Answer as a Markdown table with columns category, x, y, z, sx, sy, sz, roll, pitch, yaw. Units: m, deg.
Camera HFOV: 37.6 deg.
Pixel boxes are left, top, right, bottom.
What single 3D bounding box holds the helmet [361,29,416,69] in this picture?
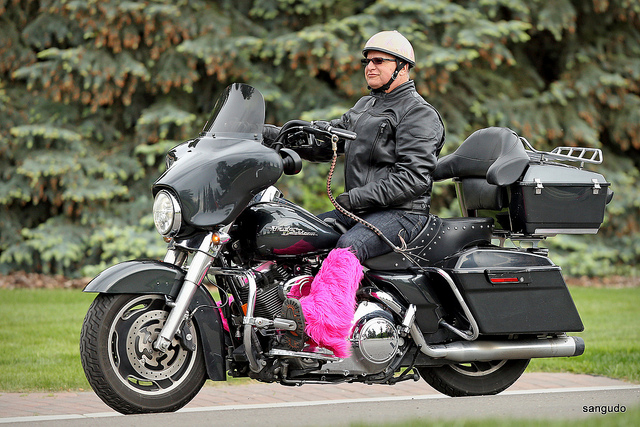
| category | x | y | z | sx | sy | sz | roll | pitch | yaw |
| --- | --- | --- | --- | --- | --- | --- | --- | --- | --- |
| helmet | 0.808 | -1.802 | 10.450 | 0.482 | 0.254 | 0.396 | 21 | -9 | -36 |
